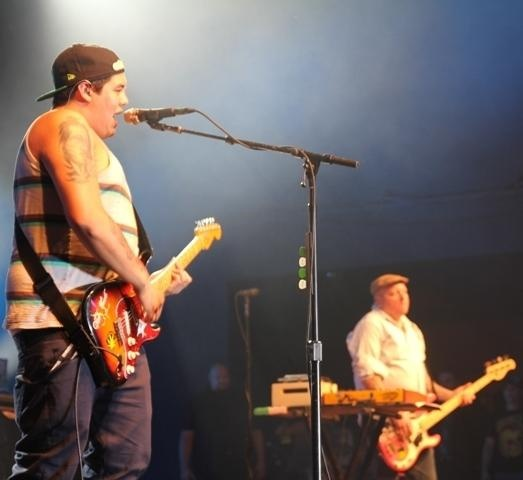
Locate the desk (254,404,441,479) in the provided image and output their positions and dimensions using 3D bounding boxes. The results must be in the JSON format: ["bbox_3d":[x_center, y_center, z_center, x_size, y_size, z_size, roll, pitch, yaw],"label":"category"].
[{"bbox_3d":[0.365,1.253,4.206,0.706,0.435,0.435,-3,-18,15],"label":"desk"}]

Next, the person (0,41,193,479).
[{"bbox_3d":[-0.718,0.071,2.980,0.637,1.837,0.410,6,-9,-33],"label":"person"}]

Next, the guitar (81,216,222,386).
[{"bbox_3d":[-0.431,0.188,2.883,0.911,0.353,0.113,-47,-6,30],"label":"guitar"}]
